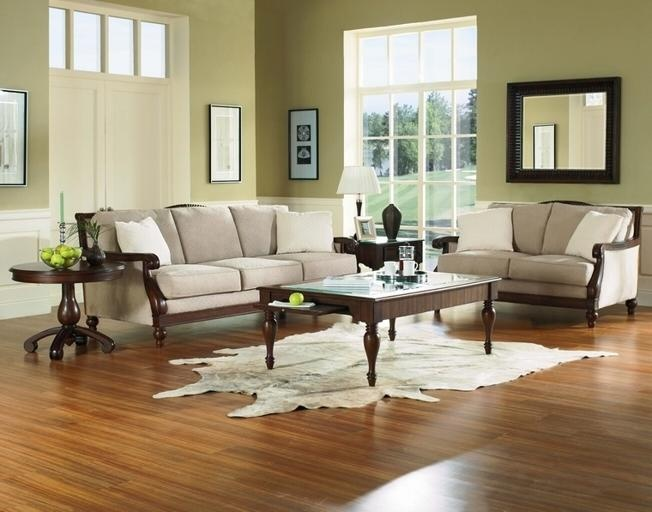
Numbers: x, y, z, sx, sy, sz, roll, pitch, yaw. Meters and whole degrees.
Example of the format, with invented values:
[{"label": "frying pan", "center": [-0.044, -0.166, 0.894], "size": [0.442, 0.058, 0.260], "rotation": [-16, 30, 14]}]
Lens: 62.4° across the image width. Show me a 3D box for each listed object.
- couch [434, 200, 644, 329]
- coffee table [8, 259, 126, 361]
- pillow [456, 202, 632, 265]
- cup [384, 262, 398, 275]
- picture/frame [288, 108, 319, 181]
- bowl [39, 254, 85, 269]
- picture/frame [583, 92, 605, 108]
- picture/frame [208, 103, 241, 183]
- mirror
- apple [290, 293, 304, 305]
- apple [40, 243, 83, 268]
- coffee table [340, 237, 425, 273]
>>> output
[{"label": "couch", "center": [2.279, -0.015, 5.936], "size": [1.080, 0.932, 1.812], "rotation": [-21, 21, -41]}, {"label": "coffee table", "center": [-2.080, 0.460, 4.414], "size": [0.905, 0.565, 0.810], "rotation": [-2, -4, 21]}, {"label": "pillow", "center": [2.381, -0.308, 5.929], "size": [2.192, 0.745, 0.768], "rotation": [1, 2, 36]}, {"label": "cup", "center": [0.497, 0.102, 4.363], "size": [0.142, 0.112, 0.138], "rotation": [1, 1, 0]}, {"label": "picture/frame", "center": [-0.352, -1.776, 8.641], "size": [0.557, 1.136, 0.043], "rotation": [1, 5, 30]}, {"label": "bowl", "center": [-2.068, 0.043, 4.232], "size": [0.250, 0.111, 0.282], "rotation": [-2, 3, -22]}, {"label": "picture/frame", "center": [3.177, -1.868, 6.396], "size": [0.262, 0.146, 0.029], "rotation": [3, 5, 38]}, {"label": "picture/frame", "center": [-1.382, -1.550, 7.465], "size": [0.079, 1.075, 0.531], "rotation": [3, 6, 44]}, {"label": "mirror", "center": [2.937, -1.558, 6.574], "size": [1.834, 1.329, 0.206], "rotation": [1, 4, 29]}, {"label": "apple", "center": [-0.200, 0.298, 3.734], "size": [0.097, 0.084, 0.123], "rotation": [-1, 3, -2]}, {"label": "apple", "center": [-2.064, -0.012, 4.227], "size": [0.254, 0.112, 0.231], "rotation": [1, 6, -9]}, {"label": "coffee table", "center": [0.686, -0.078, 6.403], "size": [0.530, 0.587, 0.808], "rotation": [3, 5, 40]}]
